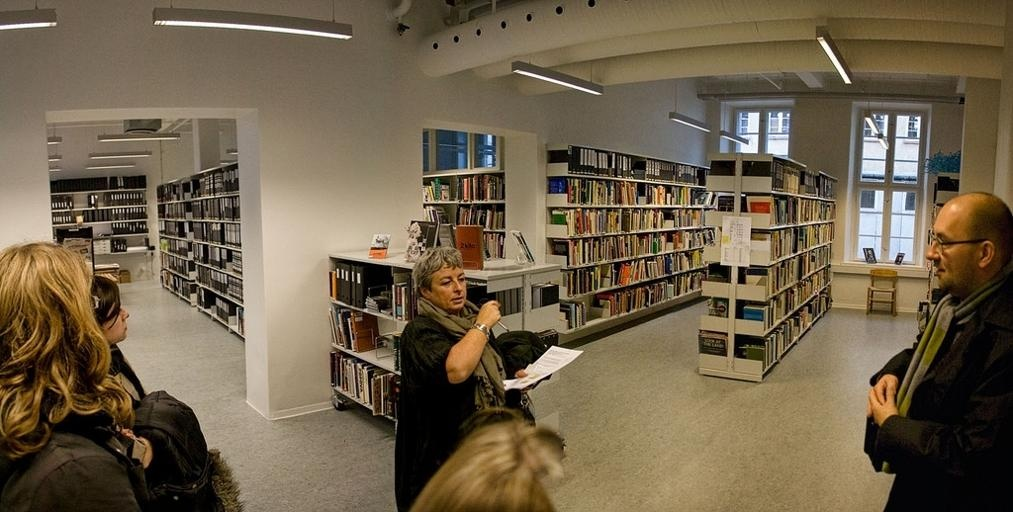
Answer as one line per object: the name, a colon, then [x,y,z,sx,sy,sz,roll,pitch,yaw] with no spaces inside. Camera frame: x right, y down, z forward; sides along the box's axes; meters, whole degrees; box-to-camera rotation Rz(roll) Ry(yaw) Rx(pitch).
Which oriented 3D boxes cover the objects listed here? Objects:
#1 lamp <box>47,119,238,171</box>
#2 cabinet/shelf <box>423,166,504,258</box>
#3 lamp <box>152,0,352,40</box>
lamp: [-8.925,-2.693,14.990,2.166,0.452,2.173,-4,-2,1]
cabinet/shelf: [-0.636,-0.723,10.023,1.831,1.432,0.546,-4,-6,44]
lamp: [-2.960,-2.751,7.295,2.132,0.222,0.276,-1,6,-18]
